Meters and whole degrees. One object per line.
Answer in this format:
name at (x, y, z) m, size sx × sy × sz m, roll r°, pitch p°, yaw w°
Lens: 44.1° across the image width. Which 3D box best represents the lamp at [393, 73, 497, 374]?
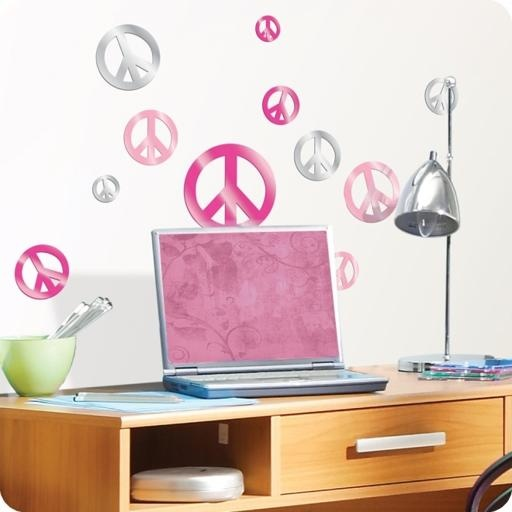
lamp at (0.459, -0.120, 1.629) m, size 0.261 × 0.811 × 0.231 m, roll 1°, pitch 3°, yaw -16°
